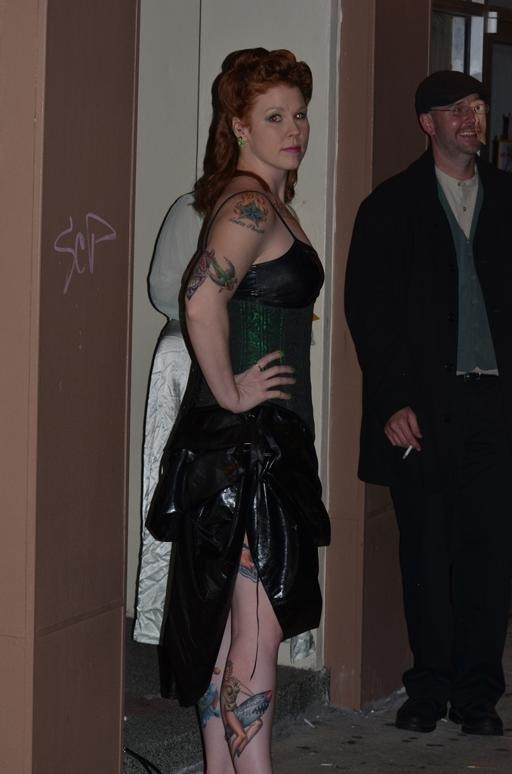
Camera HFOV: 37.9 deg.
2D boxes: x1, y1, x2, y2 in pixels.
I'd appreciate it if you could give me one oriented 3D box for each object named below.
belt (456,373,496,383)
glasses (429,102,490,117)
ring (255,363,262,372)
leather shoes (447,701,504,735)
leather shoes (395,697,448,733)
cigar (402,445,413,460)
[{"bbox_3d":[0.680,-0.027,2.299,0.125,0.035,0.023,1,-4,-9],"label":"belt"},{"bbox_3d":[0.637,-0.873,2.343,0.162,0.047,0.037,0,-4,14],"label":"glasses"},{"bbox_3d":[0.005,-0.039,1.393,0.010,0.015,0.007,-10,9,-10],"label":"ring"},{"bbox_3d":[0.721,1.083,2.454,0.073,0.080,0.185,4,-13,-11],"label":"leather shoes"},{"bbox_3d":[0.513,1.054,2.401,0.076,0.083,0.182,4,-18,22],"label":"leather shoes"},{"bbox_3d":[0.481,0.202,2.372,0.013,0.052,0.009,14,26,-36],"label":"cigar"}]
